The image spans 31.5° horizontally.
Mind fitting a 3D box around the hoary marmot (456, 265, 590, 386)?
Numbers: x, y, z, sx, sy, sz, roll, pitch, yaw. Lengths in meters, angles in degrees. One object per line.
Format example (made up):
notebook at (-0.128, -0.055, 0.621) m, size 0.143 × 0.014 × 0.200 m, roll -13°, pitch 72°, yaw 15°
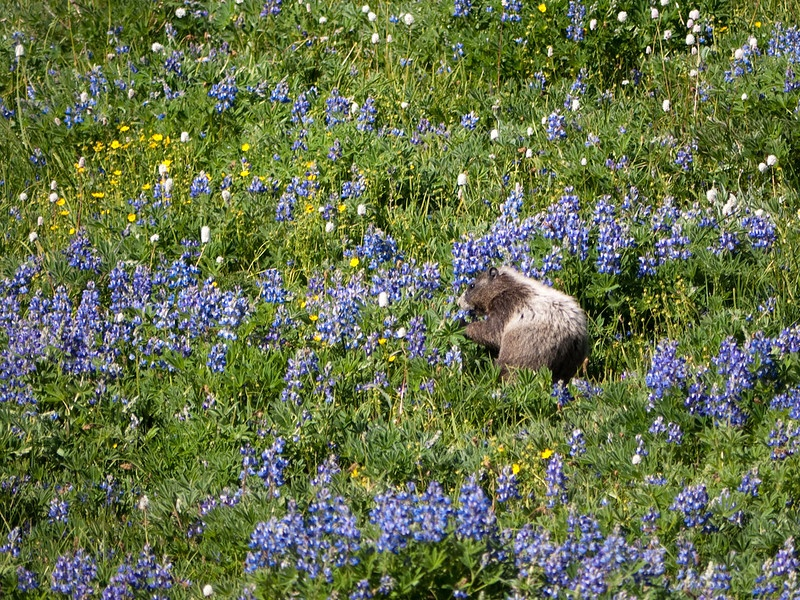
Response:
hoary marmot at (0.997, 0.294, 12.166) m, size 1.148 × 0.995 × 0.695 m, roll 27°, pitch 11°, yaw 32°
